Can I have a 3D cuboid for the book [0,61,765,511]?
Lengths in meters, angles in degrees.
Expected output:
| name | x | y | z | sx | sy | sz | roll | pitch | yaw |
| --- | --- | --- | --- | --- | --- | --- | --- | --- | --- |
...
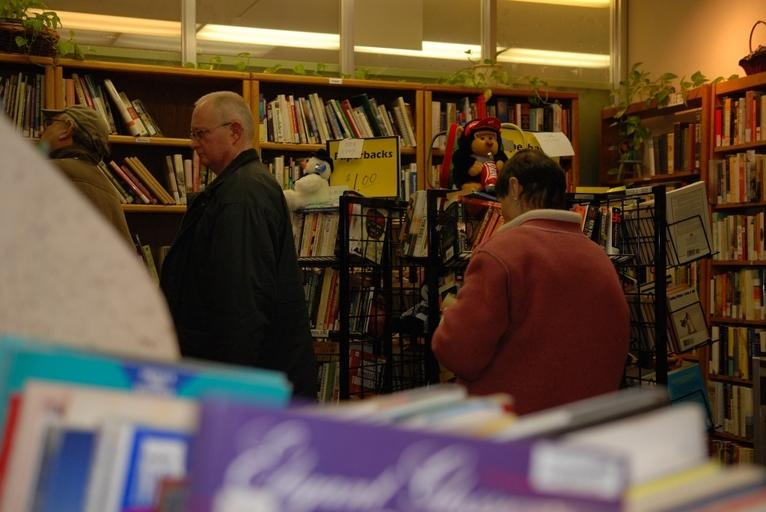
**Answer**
| name | x | y | z | sx | sy | sz | roll | pitch | yaw |
| --- | --- | --- | --- | --- | --- | --- | --- | --- | --- |
| book | 0.096 | 0.070 | 0.796 | 0.689 | 0.234 | 0.730 | 7 | -5 | -34 |
